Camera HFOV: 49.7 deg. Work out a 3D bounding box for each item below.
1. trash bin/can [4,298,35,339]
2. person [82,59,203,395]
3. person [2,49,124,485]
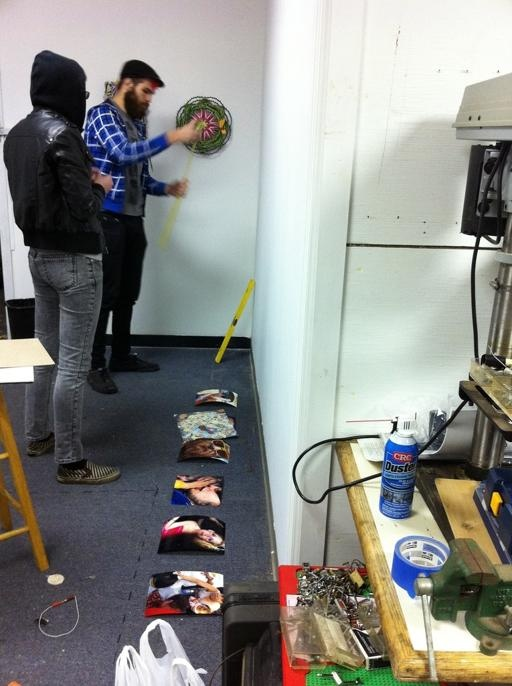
[{"bbox_3d":[-1.484,-0.157,3.485,0.227,0.279,0.255,-2,12,-16],"label":"trash bin/can"},{"bbox_3d":[-0.631,-0.628,3.193,0.708,1.747,0.720,-1,16,-11],"label":"person"},{"bbox_3d":[-0.727,-0.255,2.177,0.462,1.663,0.505,-4,22,-24],"label":"person"}]
